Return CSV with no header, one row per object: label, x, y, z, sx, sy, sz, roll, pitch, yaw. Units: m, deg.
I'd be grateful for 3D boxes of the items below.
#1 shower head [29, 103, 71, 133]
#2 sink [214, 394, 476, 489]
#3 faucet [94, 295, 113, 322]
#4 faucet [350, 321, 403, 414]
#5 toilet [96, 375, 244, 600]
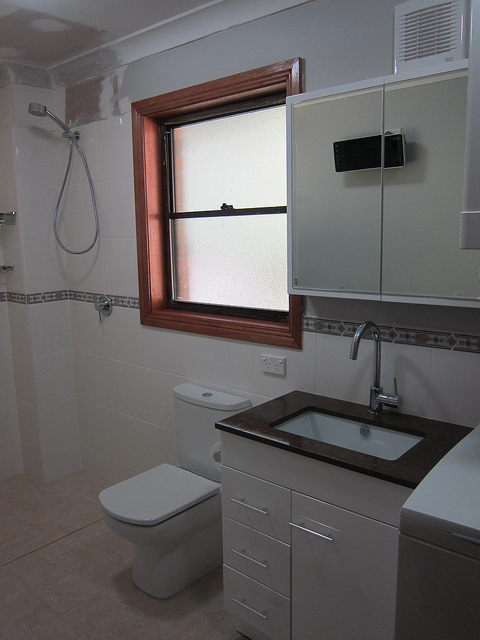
shower head,-0.989,-1.053,2.575,0.143,0.095,0.303,-1,7,-7
sink,0.323,0.379,1.587,0.719,0.135,0.482,6,9,44
faucet,-0.775,-0.059,2.793,0.057,0.159,0.133,-5,7,-39
faucet,0.445,0.166,1.593,0.146,0.317,0.274,2,6,21
toilet,-0.304,0.739,2.104,0.373,0.745,0.580,10,13,43
